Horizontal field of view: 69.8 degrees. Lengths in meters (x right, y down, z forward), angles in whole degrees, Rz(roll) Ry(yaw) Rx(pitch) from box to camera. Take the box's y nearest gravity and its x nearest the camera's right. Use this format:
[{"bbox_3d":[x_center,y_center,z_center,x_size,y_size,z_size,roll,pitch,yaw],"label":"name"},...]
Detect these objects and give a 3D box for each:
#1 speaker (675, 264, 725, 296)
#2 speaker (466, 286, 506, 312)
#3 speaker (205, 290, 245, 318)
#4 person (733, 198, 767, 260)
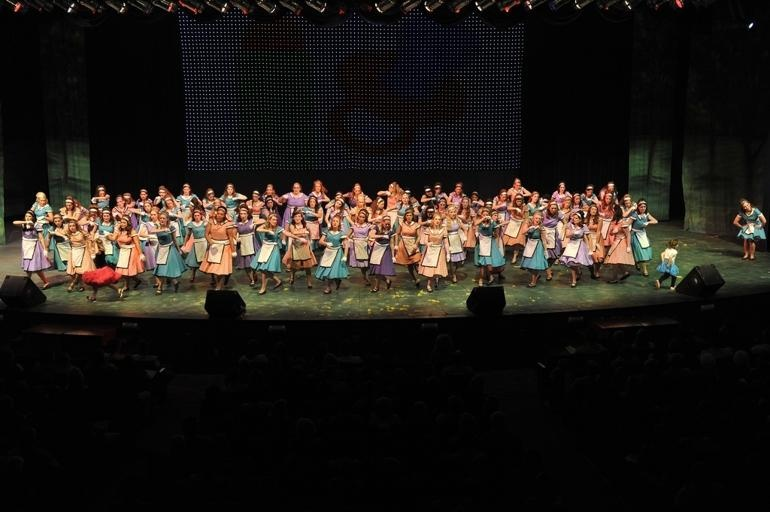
[{"bbox_3d":[4.901,0.374,8.627,0.449,0.500,0.559,1,7,-7],"label":"speaker"},{"bbox_3d":[1.437,0.635,7.881,0.501,0.373,0.403,4,39,-3],"label":"speaker"},{"bbox_3d":[-2.203,0.639,7.795,0.483,0.399,0.433,2,19,3],"label":"speaker"},{"bbox_3d":[7.467,-0.571,11.324,0.576,1.175,1.447,6,8,32],"label":"person"}]
